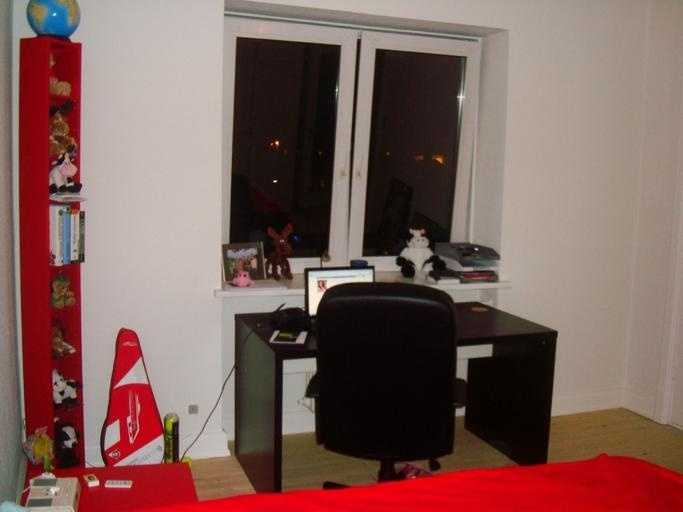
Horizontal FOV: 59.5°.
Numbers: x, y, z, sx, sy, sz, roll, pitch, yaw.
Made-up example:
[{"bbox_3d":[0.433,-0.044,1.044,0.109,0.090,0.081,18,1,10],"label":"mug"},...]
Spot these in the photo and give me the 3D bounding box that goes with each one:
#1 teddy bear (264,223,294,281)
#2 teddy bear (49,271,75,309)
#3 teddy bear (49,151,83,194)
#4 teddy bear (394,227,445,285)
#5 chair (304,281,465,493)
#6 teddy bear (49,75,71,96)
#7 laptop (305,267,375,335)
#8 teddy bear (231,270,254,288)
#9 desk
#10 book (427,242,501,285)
[{"bbox_3d":[-0.419,-0.040,4.058,0.173,0.368,0.305,1,10,-5],"label":"teddy bear"},{"bbox_3d":[-1.513,0.178,3.227,0.126,0.198,0.135,11,9,14],"label":"teddy bear"},{"bbox_3d":[-1.476,-0.456,3.142,0.186,0.264,0.148,0,18,-32],"label":"teddy bear"},{"bbox_3d":[0.568,-0.022,4.286,0.314,0.352,0.219,-2,6,0],"label":"teddy bear"},{"bbox_3d":[0.244,0.729,3.065,0.719,1.190,0.697,2,3,10],"label":"chair"},{"bbox_3d":[-1.462,-0.886,3.107,0.089,0.088,0.080,6,11,23],"label":"teddy bear"},{"bbox_3d":[-0.023,0.302,3.581,0.455,0.419,0.313,0,3,-10],"label":"laptop"},{"bbox_3d":[-0.625,0.137,3.768,0.129,0.095,0.143,0,10,-9],"label":"teddy bear"},{"bbox_3d":[0.285,0.825,3.689,1.650,0.992,0.935,0,5,-19],"label":"desk"},{"bbox_3d":[0.894,0.049,4.149,0.275,0.196,0.377,-1,5,-19],"label":"book"}]
